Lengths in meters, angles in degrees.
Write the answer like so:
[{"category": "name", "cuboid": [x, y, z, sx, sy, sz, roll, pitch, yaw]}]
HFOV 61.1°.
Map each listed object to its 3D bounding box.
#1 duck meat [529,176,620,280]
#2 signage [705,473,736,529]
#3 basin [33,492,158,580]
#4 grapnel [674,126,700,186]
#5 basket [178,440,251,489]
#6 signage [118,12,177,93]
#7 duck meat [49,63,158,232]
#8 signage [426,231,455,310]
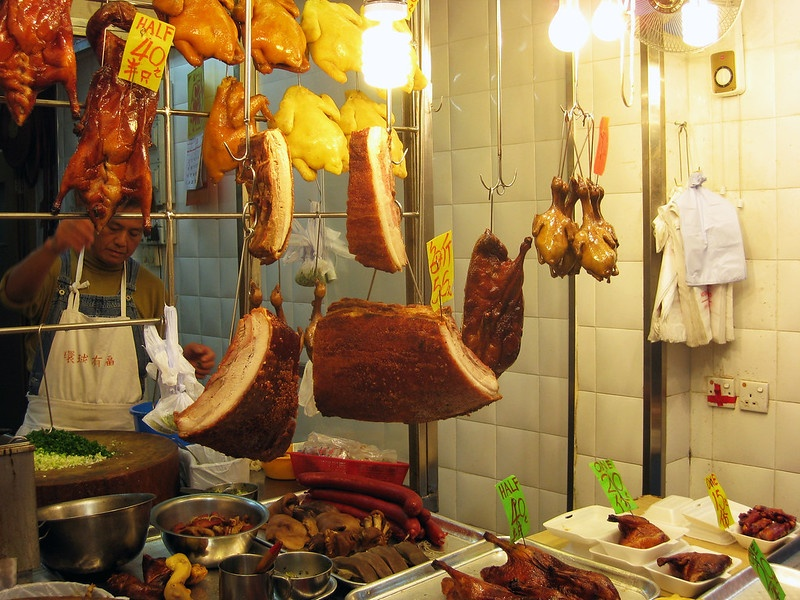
[{"category": "duck meat", "cuboid": [0.675, -0.264, 2.605, 0.274, 0.465, 0.167, 3, -11, -4]}, {"category": "signage", "cuboid": [1.146, 0.731, 2.446, 0.070, 0.277, 0.033, -5, -2, -5]}, {"category": "basin", "cuboid": [-0.933, 0.730, 2.079, 0.368, 0.225, 0.384, -4, -6, 0]}, {"category": "grapnel", "cuboid": [1.483, -0.765, 3.516, 0.168, 0.235, 0.056, 0, 1, -30]}, {"category": "basket", "cuboid": [-0.719, 0.605, 2.636, 0.230, 0.125, 0.198, 0, -6, 22]}, {"category": "signage", "cuboid": [-0.741, -0.732, 1.977, 0.121, 0.216, 0.021, 4, 40, -36]}, {"category": "duck meat", "cuboid": [-0.842, -0.437, 1.983, 0.250, 0.536, 0.113, 14, -14, -31]}, {"category": "signage", "cuboid": [0.140, -0.103, 2.414, 0.135, 0.297, 0.011, -28, 41, -24]}]
